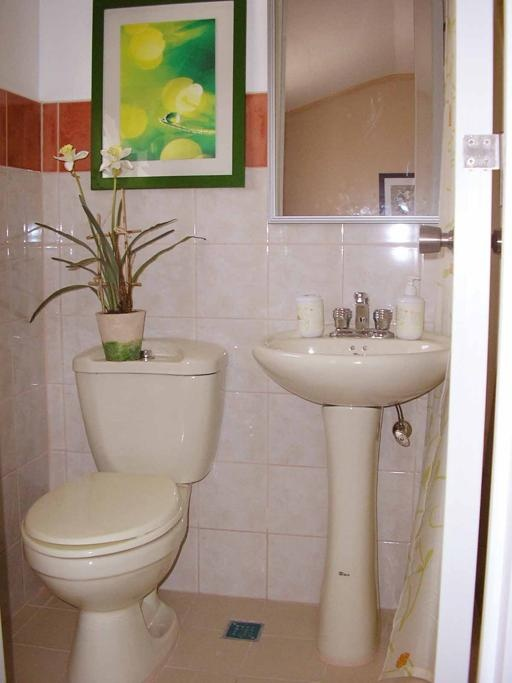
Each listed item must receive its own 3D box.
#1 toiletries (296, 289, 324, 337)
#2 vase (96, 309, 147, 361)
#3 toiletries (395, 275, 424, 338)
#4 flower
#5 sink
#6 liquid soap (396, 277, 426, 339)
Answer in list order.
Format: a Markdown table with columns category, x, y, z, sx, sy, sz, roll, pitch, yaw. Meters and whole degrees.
| category | x | y | z | sx | sy | sz | roll | pitch | yaw |
| --- | --- | --- | --- | --- | --- | --- | --- | --- | --- |
| toiletries | 0.138 | -0.078 | 1.525 | 0.087 | 0.158 | 0.088 | 0 | 1 | 4 |
| vase | -0.362 | -0.017 | 1.644 | 0.126 | 0.138 | 0.144 | -1 | 1 | 13 |
| toiletries | 0.376 | -0.096 | 1.515 | 0.059 | 0.170 | 0.072 | 4 | 10 | 6 |
| flower | -0.400 | -0.260 | 1.664 | 0.404 | 0.585 | 0.237 | 6 | 13 | 1 |
| sink | 0.207 | 0.018 | 1.424 | 0.400 | 0.179 | 0.445 | 1 | 5 | 4 |
| liquid soap | 0.381 | -0.093 | 1.520 | 0.063 | 0.169 | 0.072 | 4 | 10 | 6 |
